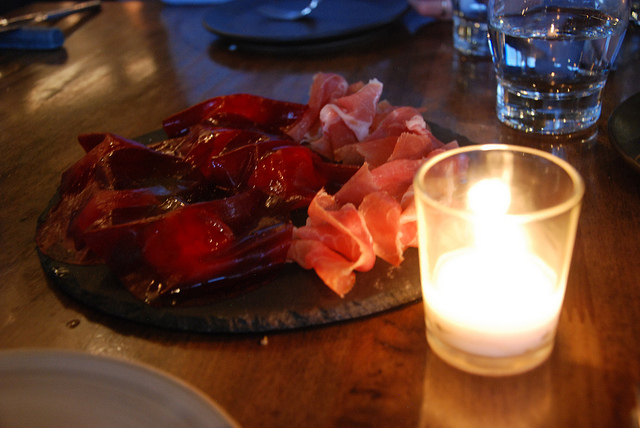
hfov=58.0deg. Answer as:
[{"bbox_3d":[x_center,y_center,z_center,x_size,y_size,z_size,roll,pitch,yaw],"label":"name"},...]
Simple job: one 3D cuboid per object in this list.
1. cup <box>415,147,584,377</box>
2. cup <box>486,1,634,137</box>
[{"bbox_3d":[0.201,0.055,0.818,0.260,0.299,0.265,-2,31,1],"label":"cup"},{"bbox_3d":[0.494,-0.305,1.252,0.264,0.303,0.272,-3,30,2],"label":"cup"}]
